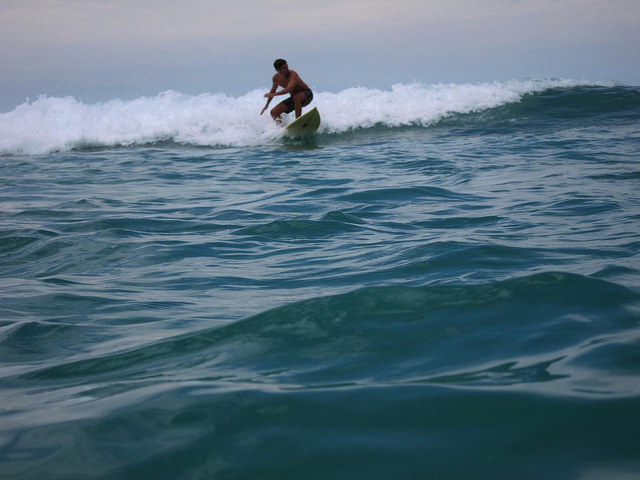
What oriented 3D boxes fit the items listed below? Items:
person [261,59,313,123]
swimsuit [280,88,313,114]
[{"bbox_3d":[-0.552,-2.422,12.574,0.810,1.005,0.887,-7,15,1],"label":"person"},{"bbox_3d":[-0.385,-2.323,12.872,0.534,0.417,0.474,-6,14,-2],"label":"swimsuit"}]
